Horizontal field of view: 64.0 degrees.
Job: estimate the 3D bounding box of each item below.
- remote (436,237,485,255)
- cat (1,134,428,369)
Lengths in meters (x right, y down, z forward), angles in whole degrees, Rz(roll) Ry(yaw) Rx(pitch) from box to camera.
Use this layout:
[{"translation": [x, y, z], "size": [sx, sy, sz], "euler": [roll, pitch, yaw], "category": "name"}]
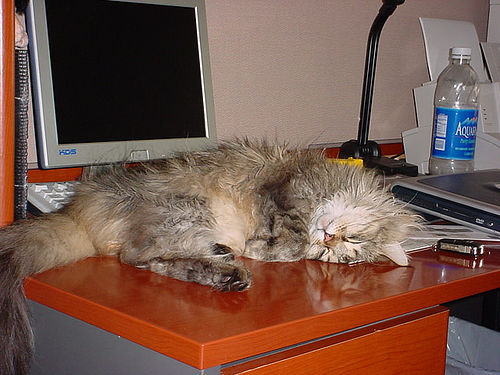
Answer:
[{"translation": [0.406, 0.112, 0.770], "size": [0.066, 0.019, 0.038], "euler": [5, 5, 37], "category": "remote"}, {"translation": [-0.051, -0.006, 0.690], "size": [0.562, 0.137, 0.483], "euler": [15, 32, 28], "category": "cat"}]
